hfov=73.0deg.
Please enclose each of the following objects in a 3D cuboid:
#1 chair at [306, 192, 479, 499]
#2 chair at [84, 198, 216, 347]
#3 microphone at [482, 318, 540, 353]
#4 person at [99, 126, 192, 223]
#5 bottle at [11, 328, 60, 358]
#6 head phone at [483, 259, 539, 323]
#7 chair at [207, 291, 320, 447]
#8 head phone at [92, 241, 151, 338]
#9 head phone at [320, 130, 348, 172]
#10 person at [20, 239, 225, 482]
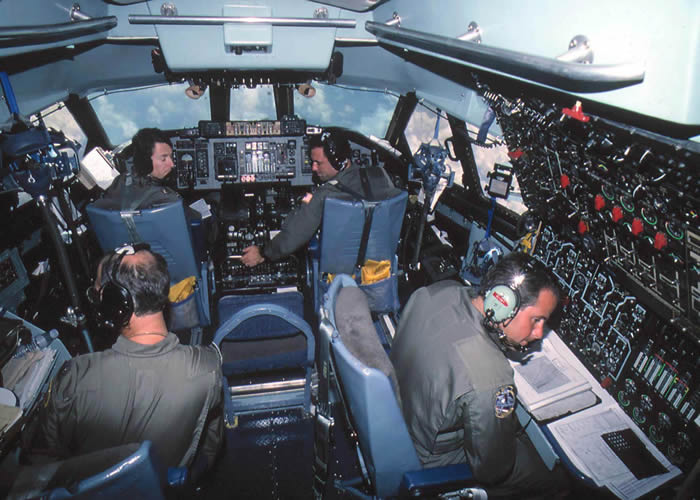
[{"bbox_3d":[0.212,0.560,2.820,1.155,1.623,1.132,-4,45,-9],"label":"chair"},{"bbox_3d":[-1.563,0.058,3.873,0.886,1.353,0.929,-4,29,-13],"label":"chair"},{"bbox_3d":[0.863,0.456,2.551,0.294,0.090,0.332,49,14,24],"label":"microphone"},{"bbox_3d":[-1.662,-0.625,3.946,0.400,0.695,0.787,2,26,-10],"label":"person"},{"bbox_3d":[-1.903,0.554,2.874,0.117,0.153,0.451,-36,17,-24],"label":"bottle"},{"bbox_3d":[0.855,0.197,2.471,0.120,0.333,0.242,19,3,-43],"label":"head phone"},{"bbox_3d":[-0.548,0.631,3.113,0.629,0.886,0.615,-5,21,-14],"label":"chair"},{"bbox_3d":[-1.136,0.229,2.432,0.303,0.283,0.397,-17,47,41],"label":"head phone"},{"bbox_3d":[-0.146,-0.850,4.139,0.183,0.410,0.455,-18,7,3],"label":"head phone"},{"bbox_3d":[-1.235,0.576,2.586,1.021,1.283,0.952,7,24,-26],"label":"person"}]
